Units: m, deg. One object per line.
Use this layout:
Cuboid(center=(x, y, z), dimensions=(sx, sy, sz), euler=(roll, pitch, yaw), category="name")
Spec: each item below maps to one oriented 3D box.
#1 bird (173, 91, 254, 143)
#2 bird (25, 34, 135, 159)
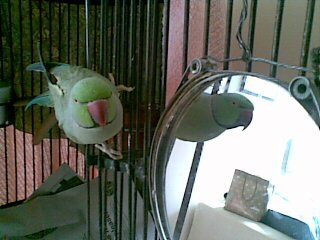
Cuboid(center=(0.081, -0.006, 0.573), dimensions=(0.047, 0.069, 0.157), euler=(26, -6, -39), category="bird")
Cuboid(center=(-0.158, -0.042, 0.572), dimensions=(0.207, 0.104, 0.128), euler=(37, 33, 20), category="bird")
